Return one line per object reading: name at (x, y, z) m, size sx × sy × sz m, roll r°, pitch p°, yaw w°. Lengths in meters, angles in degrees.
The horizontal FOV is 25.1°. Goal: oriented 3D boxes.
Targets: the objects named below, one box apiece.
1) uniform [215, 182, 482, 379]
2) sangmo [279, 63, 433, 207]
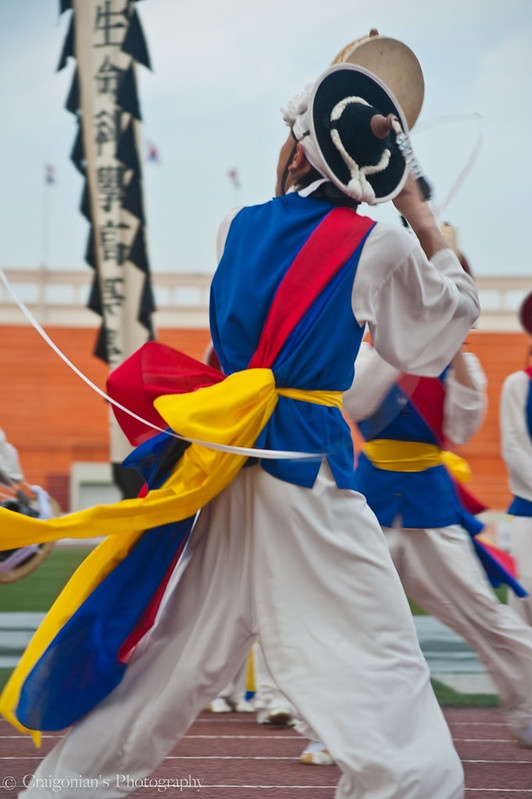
uniform at (0.256, -0.199, 2.471) m, size 0.336 × 0.156 × 0.316 m, roll 34°, pitch -28°, yaw 20°
sangmo at (0.178, -0.546, 2.644) m, size 0.313 × 0.309 × 0.118 m, roll -39°, pitch 15°, yaw -28°
